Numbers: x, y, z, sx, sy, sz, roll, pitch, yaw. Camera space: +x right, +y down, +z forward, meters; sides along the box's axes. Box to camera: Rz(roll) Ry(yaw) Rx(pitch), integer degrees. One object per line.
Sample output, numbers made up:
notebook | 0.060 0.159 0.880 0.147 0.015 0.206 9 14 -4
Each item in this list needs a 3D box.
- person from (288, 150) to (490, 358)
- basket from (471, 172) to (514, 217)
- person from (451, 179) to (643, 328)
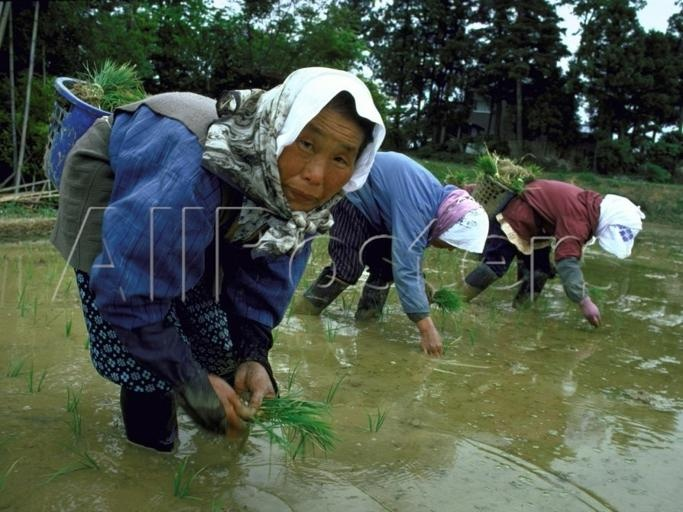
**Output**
person | 0.394 -0.060 5.312 1.682 1.503 1.130 11 16 31
basket | 1.504 -0.625 6.405 0.377 0.306 0.414 39 8 32
person | 2.056 -0.059 6.368 1.085 1.309 1.693 -8 15 -43
